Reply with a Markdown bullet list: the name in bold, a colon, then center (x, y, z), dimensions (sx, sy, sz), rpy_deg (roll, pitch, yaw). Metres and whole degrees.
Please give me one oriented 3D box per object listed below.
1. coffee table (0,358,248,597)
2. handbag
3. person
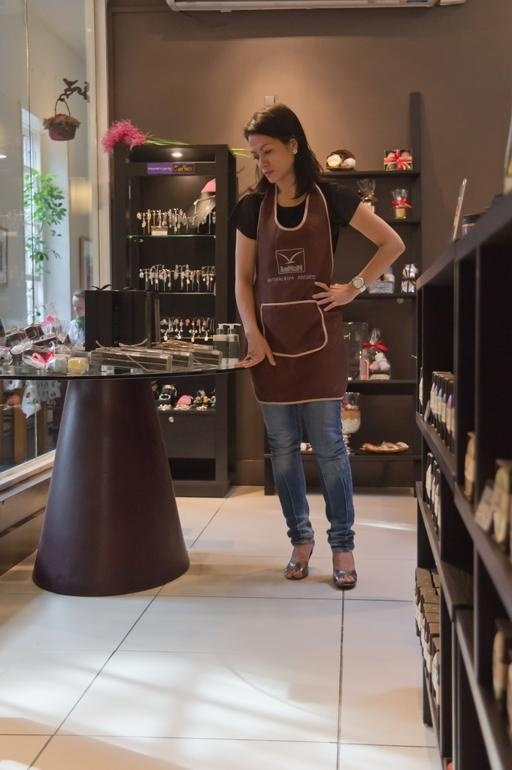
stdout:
- **coffee table**: center (-0.511, 0.356, 2.197), dimensions (0.760, 0.668, 0.901), rpy_deg (-3, -5, 26)
- **handbag**: center (-0.523, -0.263, 2.465), dimensions (0.308, 0.314, 0.229), rpy_deg (1, 5, 0)
- **person**: center (0.227, -0.121, 2.294), dimensions (0.592, 1.763, 0.426), rpy_deg (0, 1, -5)
